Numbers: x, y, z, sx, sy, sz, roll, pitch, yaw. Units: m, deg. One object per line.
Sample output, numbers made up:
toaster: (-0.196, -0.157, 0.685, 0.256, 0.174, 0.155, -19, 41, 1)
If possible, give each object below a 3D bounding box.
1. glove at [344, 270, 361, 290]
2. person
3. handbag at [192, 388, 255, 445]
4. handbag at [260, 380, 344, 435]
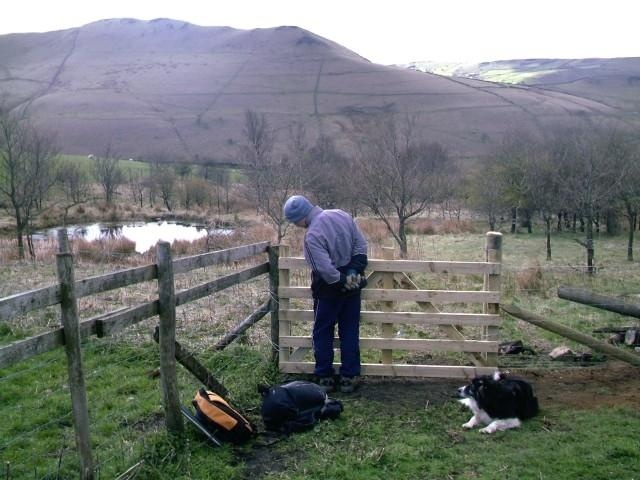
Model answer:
glove: (0.636, 0.783, 11.728, 0.258, 0.168, 0.362, 23, 41, 3)
person: (0.212, 1.073, 12.011, 1.416, 3.788, 0.784, 1, 12, 5)
handbag: (-1.767, 3.217, 11.053, 0.380, 1.049, 0.775, -48, 3, -22)
handbag: (-0.432, 3.055, 11.393, 1.100, 0.582, 0.928, -11, 3, 0)
